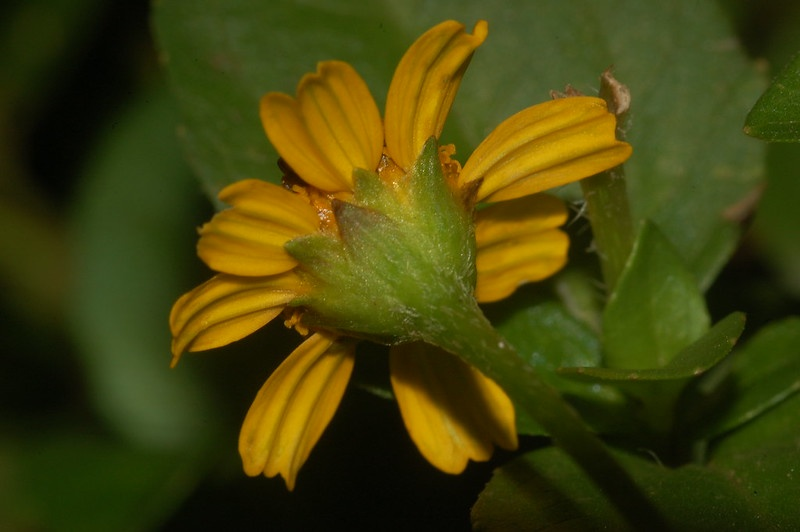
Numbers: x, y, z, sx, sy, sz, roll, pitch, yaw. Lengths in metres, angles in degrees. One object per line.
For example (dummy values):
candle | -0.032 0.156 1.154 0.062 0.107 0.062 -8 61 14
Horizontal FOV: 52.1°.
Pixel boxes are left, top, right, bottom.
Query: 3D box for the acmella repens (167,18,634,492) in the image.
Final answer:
acmella repens | 0.008 0.006 1.068 0.600 0.521 0.330 -9 31 16
